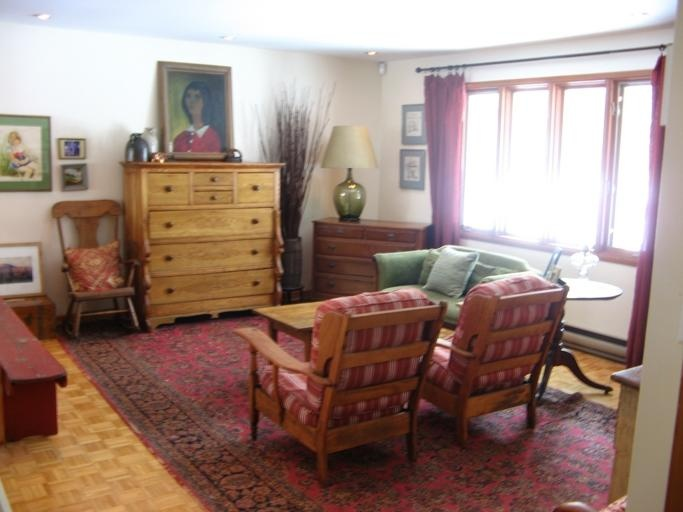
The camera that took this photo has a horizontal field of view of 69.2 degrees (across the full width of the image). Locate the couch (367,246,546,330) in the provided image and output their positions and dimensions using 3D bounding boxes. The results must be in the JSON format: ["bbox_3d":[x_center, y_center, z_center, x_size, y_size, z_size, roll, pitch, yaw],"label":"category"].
[{"bbox_3d":[1.014,0.507,5.059,0.859,0.713,1.666,-7,10,-41],"label":"couch"}]

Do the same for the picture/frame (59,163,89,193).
[{"bbox_3d":[-2.919,-0.856,5.350,0.396,0.379,0.047,-1,6,-29],"label":"picture/frame"}]

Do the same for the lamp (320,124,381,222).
[{"bbox_3d":[0.099,-1.064,6.377,0.672,1.203,0.464,2,12,1],"label":"lamp"}]

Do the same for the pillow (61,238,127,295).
[{"bbox_3d":[-2.686,0.122,5.297,0.680,0.573,0.230,-6,-9,-31],"label":"pillow"}]

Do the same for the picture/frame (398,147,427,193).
[{"bbox_3d":[0.961,-1.158,6.641,0.074,0.549,0.394,-10,16,-42],"label":"picture/frame"}]

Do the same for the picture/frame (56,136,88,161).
[{"bbox_3d":[-2.918,-1.162,5.308,0.339,0.239,0.024,-2,5,-28],"label":"picture/frame"}]

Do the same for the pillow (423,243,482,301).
[{"bbox_3d":[1.161,0.173,5.008,0.521,0.467,0.203,14,-18,46],"label":"pillow"}]

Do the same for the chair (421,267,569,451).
[{"bbox_3d":[0.910,0.640,3.476,0.898,1.026,0.974,-1,7,-22],"label":"chair"}]

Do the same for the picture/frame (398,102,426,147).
[{"bbox_3d":[0.956,-1.753,6.572,0.073,0.545,0.422,-8,15,-39],"label":"picture/frame"}]

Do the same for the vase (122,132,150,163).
[{"bbox_3d":[-2.188,-1.186,5.431,0.346,0.317,0.315,1,2,10],"label":"vase"}]

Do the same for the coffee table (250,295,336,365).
[{"bbox_3d":[-0.340,0.492,3.904,0.716,0.303,0.566,-5,9,-31],"label":"coffee table"}]

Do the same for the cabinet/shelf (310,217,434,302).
[{"bbox_3d":[0.205,0.141,6.464,1.398,0.947,0.487,5,-7,-19],"label":"cabinet/shelf"}]

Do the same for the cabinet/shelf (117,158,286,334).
[{"bbox_3d":[-1.623,-0.130,5.464,2.221,2.095,1.176,-4,7,-26],"label":"cabinet/shelf"}]

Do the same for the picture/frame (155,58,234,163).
[{"bbox_3d":[-1.711,-1.739,5.832,0.833,1.011,0.190,-6,14,-32],"label":"picture/frame"}]

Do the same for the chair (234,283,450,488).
[{"bbox_3d":[-0.016,0.737,3.111,0.970,0.840,1.154,2,-5,-31],"label":"chair"}]
